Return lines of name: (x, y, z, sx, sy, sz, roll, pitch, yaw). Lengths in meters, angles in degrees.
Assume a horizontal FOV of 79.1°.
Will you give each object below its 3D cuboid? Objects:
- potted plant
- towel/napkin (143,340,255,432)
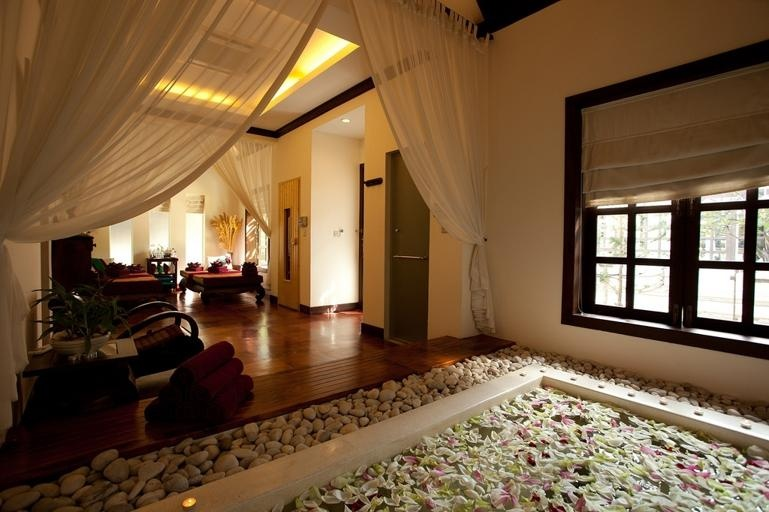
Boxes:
potted plant: (-1.918, 0.391, 2.989, 0.408, 0.485, 0.464, 0, 0, -31)
towel/napkin: (-1.133, 0.805, 2.979, 0.411, 0.359, 0.561, 2, -4, 9)
